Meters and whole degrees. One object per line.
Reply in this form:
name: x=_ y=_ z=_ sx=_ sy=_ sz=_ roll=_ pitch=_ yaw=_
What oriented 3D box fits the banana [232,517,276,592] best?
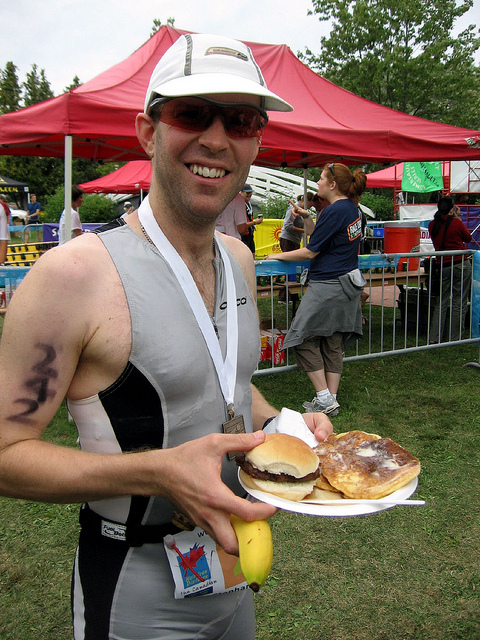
banana: x=0.025 y=0.477 z=1.105 sx=0.078 sy=0.131 sz=0.099 roll=0 pitch=12 yaw=-2

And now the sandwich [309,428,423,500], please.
sandwich: x=0.305 y=0.351 z=1.337 sx=0.180 sy=0.029 sz=0.166 roll=-6 pitch=8 yaw=-5

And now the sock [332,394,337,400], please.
sock: x=0.929 y=0.750 z=5.446 sx=0.043 sy=0.050 sz=0.043 roll=-6 pitch=13 yaw=-18

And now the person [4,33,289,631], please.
person: x=-0.175 y=0.096 z=1.388 sx=0.595 sy=1.581 sz=0.787 roll=1 pitch=12 yaw=5

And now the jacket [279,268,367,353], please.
jacket: x=0.810 y=-0.103 z=5.387 sx=0.778 sy=0.813 sz=0.352 roll=0 pitch=12 yaw=2

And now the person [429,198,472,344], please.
person: x=3.011 y=-0.712 z=8.015 sx=0.605 sy=2.163 sz=1.278 roll=4 pitch=13 yaw=17

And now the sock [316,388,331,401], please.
sock: x=0.805 y=0.705 z=5.355 sx=0.106 sy=0.075 sz=0.108 roll=-31 pitch=-13 yaw=34

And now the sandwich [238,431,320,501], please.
sandwich: x=0.089 y=0.335 z=1.264 sx=0.187 sy=0.116 sz=0.159 roll=0 pitch=12 yaw=-1
